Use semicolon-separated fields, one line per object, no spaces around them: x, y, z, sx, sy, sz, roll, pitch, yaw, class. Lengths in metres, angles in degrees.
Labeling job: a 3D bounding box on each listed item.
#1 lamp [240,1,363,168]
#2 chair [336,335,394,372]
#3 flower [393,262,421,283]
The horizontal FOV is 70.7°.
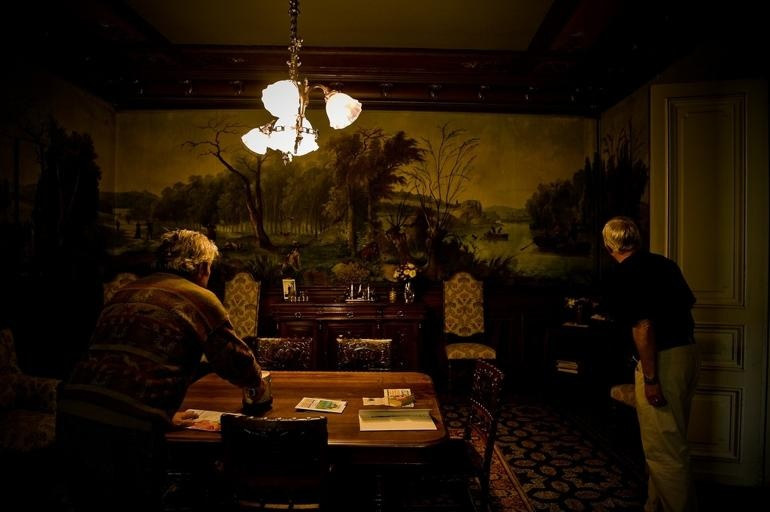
-0.982;-1.877;5.800;1.033;1.969;1.484;1;-2;-17;lamp
-0.215;1.063;5.875;0.562;0.334;0.212;0;-2;-6;chair
0.310;0.243;7.787;0.312;0.206;0.313;-2;-1;27;flower
